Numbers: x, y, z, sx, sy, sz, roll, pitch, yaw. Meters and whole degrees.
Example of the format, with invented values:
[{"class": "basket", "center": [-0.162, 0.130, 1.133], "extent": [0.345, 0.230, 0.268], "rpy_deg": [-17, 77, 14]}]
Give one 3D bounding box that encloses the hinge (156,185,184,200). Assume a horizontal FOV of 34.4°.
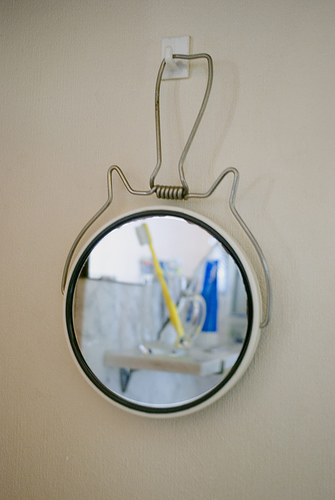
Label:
[{"class": "hinge", "center": [0.005, -0.100, 0.936], "extent": [0.040, 0.017, 0.022], "rpy_deg": [2, 82, 9]}]
